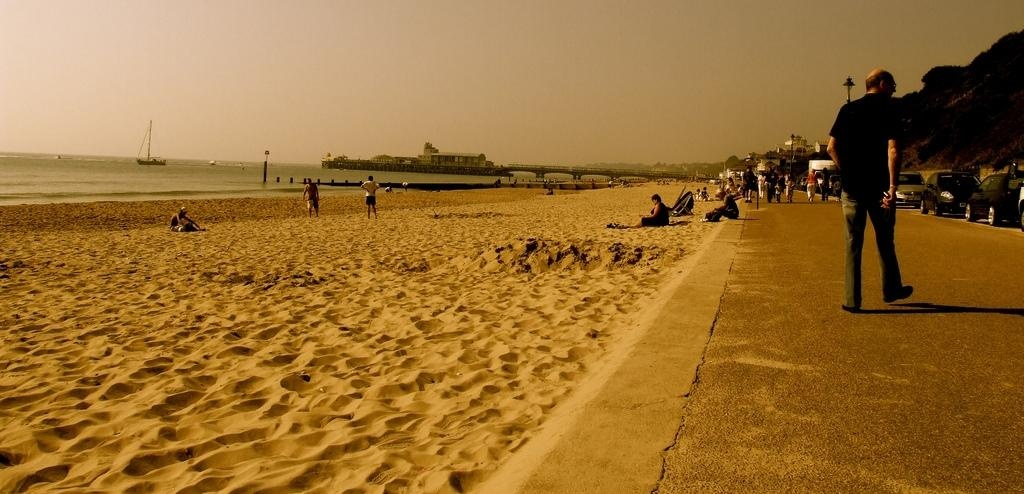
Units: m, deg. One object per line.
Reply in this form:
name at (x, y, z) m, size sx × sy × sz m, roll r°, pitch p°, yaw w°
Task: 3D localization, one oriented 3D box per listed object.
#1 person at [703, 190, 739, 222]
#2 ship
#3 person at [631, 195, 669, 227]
person at (7.228, -1.343, 21.066) m, size 1.556 × 0.950 × 0.846 m, roll -5°, pitch 8°, yaw 15°
ship at (-37.671, -33.801, 237.195) m, size 70.305 × 9.398 × 7.176 m, roll 3°, pitch 3°, yaw 6°
person at (4.632, -1.054, 20.137) m, size 1.221 × 1.237 × 0.862 m, roll 0°, pitch -3°, yaw 28°
